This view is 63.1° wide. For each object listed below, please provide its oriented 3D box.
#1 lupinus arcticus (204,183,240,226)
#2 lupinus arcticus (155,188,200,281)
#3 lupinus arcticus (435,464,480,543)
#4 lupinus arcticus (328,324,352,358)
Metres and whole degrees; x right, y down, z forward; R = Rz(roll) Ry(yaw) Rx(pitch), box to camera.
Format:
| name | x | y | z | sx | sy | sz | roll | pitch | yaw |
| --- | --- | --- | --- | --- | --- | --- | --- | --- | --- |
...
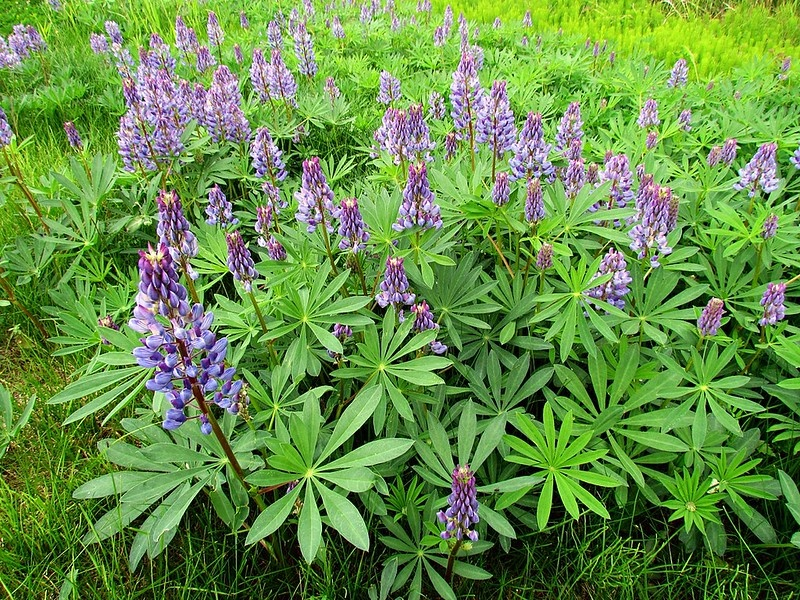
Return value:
| name | x | y | z | sx | sy | sz | roll | pitch | yaw |
| --- | --- | --- | --- | --- | --- | --- | --- | --- | --- |
| lupinus arcticus | -1.603 | -0.826 | 5.817 | 0.272 | 0.392 | 0.306 | -12 | 34 | -17 |
| lupinus arcticus | -1.552 | -0.468 | 4.548 | 0.230 | 0.745 | 0.217 | 22 | 40 | 34 |
| lupinus arcticus | 0.390 | 1.380 | 4.375 | 0.274 | 0.611 | 0.308 | 7 | 27 | 18 |
| lupinus arcticus | -0.440 | 0.295 | 5.078 | 0.202 | 0.355 | 0.219 | -4 | 19 | -2 |
